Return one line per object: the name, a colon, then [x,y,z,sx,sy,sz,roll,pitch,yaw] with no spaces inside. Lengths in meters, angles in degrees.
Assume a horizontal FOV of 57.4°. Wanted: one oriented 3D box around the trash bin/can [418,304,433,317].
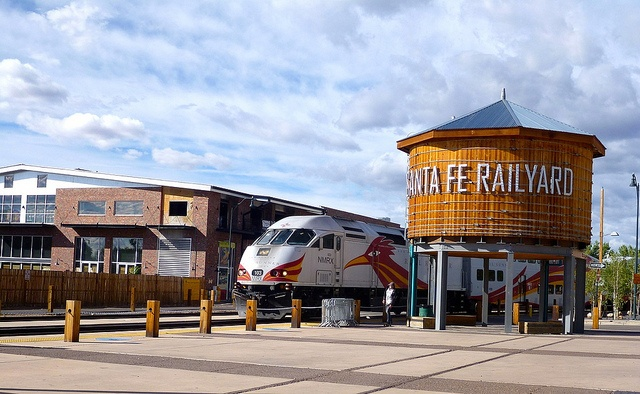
trash bin/can: [6.102,6.602,33.890,0.874,0.526,0.799,0,-10,0]
